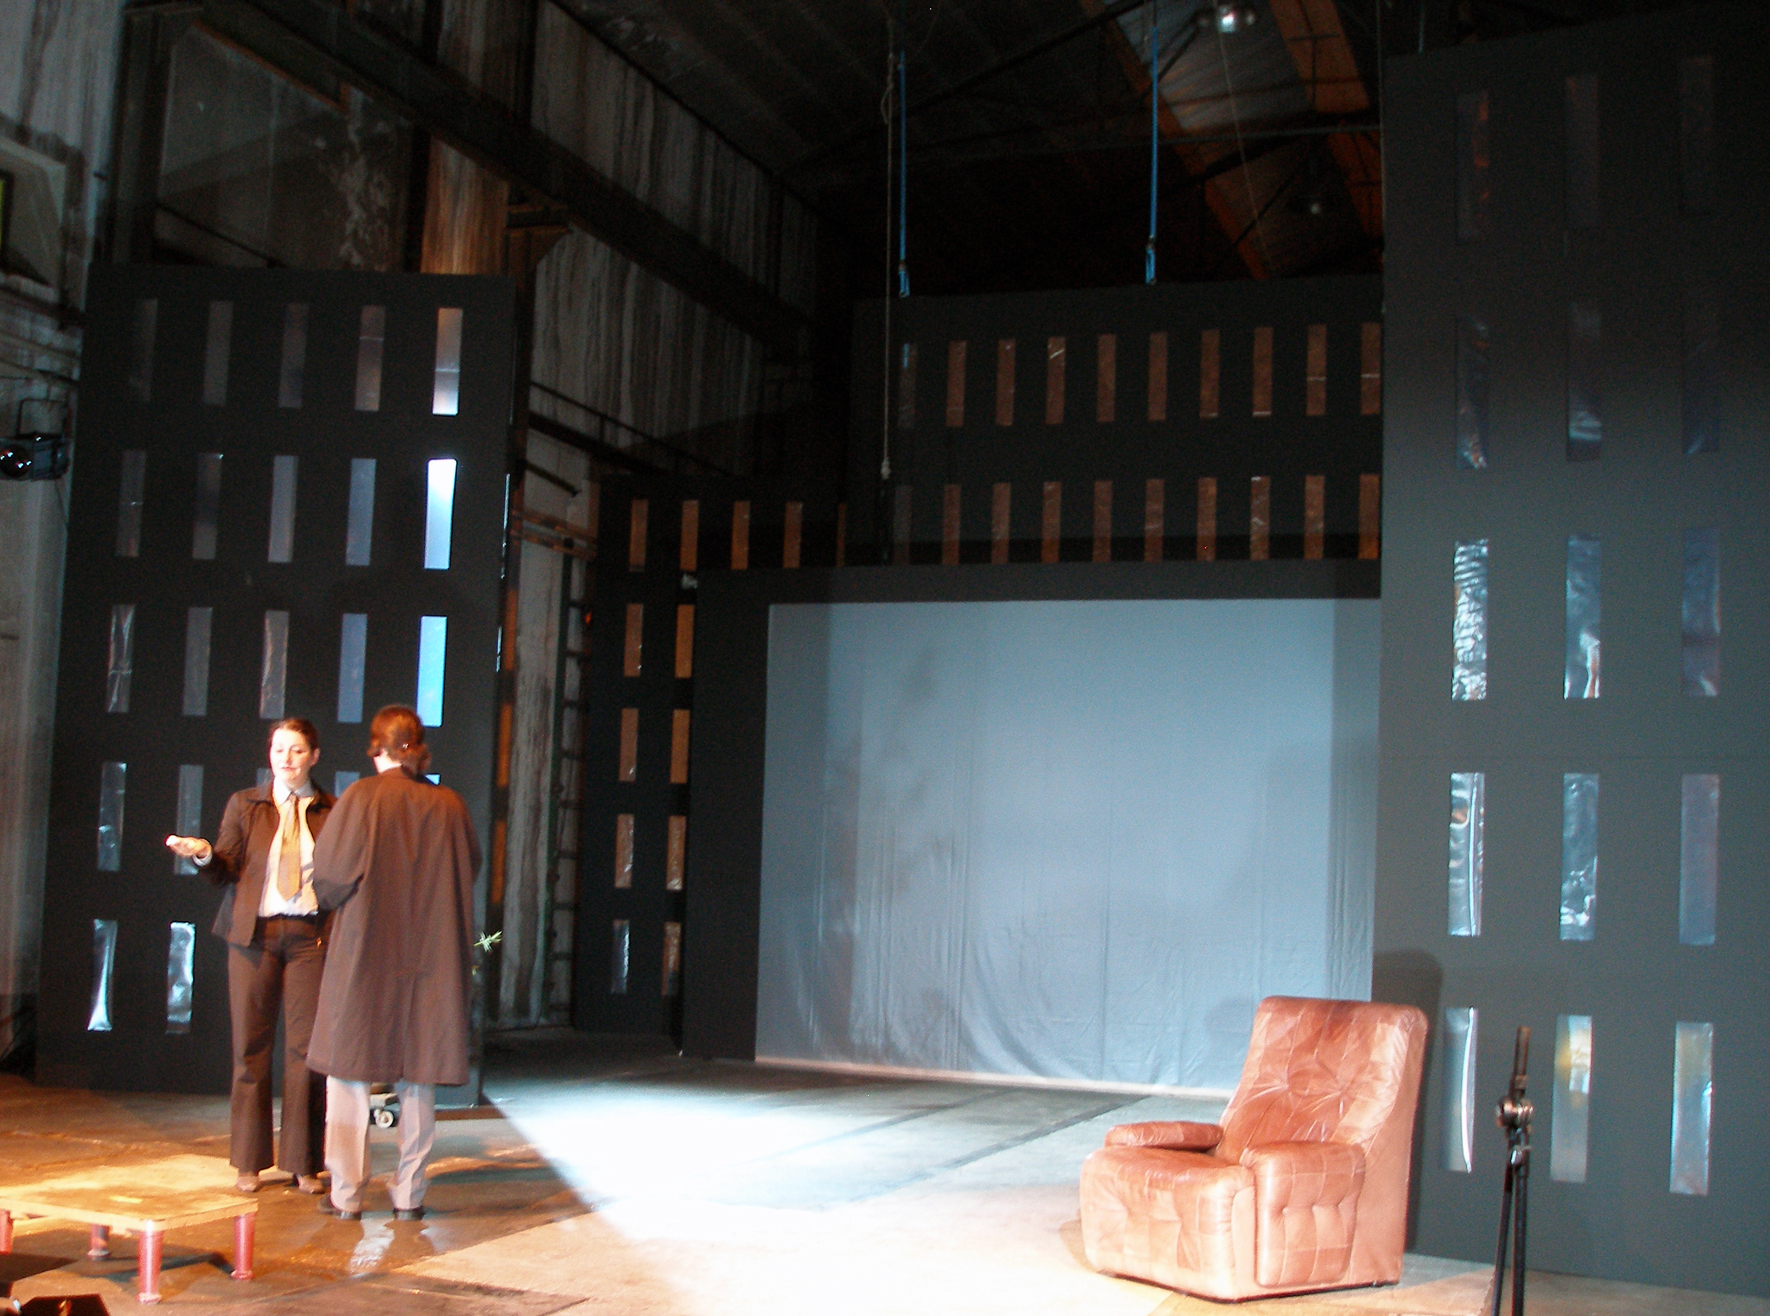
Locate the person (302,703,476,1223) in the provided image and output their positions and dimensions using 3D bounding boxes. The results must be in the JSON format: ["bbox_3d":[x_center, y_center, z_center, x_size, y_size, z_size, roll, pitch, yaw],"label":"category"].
[{"bbox_3d":[-1.932,1.183,6.174,0.593,1.992,0.363,2,-8,-17],"label":"person"}]

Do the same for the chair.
[{"bbox_3d":[1.348,1.899,6.189,1.086,1.192,1.078,8,-13,-28],"label":"chair"}]
